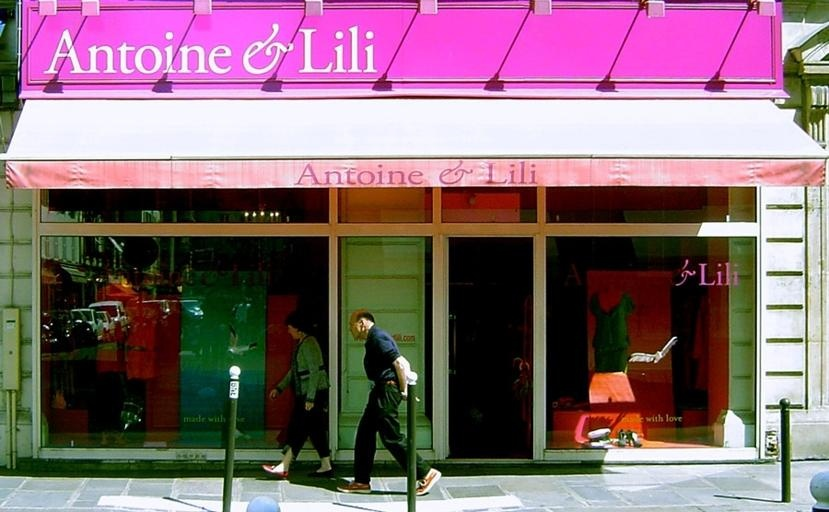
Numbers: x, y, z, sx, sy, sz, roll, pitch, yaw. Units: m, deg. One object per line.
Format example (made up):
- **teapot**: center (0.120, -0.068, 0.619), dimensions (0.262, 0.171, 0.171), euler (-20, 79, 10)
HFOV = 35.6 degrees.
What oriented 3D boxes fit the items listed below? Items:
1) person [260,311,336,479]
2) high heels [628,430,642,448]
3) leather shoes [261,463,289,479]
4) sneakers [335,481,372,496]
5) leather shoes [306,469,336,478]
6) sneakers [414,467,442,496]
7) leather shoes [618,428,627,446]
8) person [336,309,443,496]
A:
- **person**: center (-1.717, 2.056, 19.307), dimensions (0.905, 2.434, 0.670), euler (-2, -6, -7)
- **high heels**: center (3.403, 2.810, 19.913), dimensions (0.141, 0.234, 0.094), euler (-5, -21, -38)
- **leather shoes**: center (-2.055, 3.145, 19.086), dimensions (0.370, 0.124, 0.185), euler (21, 0, -2)
- **sneakers**: center (-0.872, 3.326, 18.630), dimensions (0.519, 0.199, 0.181), euler (3, -5, 7)
- **leather shoes**: center (-1.395, 3.213, 19.231), dimensions (0.397, 0.132, 0.134), euler (4, -2, 0)
- **sneakers**: center (0.203, 3.231, 18.581), dimensions (0.217, 0.515, 0.191), euler (29, 3, -24)
- **leather shoes**: center (3.205, 2.796, 20.037), dimensions (0.183, 0.304, 0.198), euler (-2, -2, 6)
- **person**: center (-0.491, 2.059, 18.495), dimensions (1.122, 2.606, 0.379), euler (-5, -6, 29)
